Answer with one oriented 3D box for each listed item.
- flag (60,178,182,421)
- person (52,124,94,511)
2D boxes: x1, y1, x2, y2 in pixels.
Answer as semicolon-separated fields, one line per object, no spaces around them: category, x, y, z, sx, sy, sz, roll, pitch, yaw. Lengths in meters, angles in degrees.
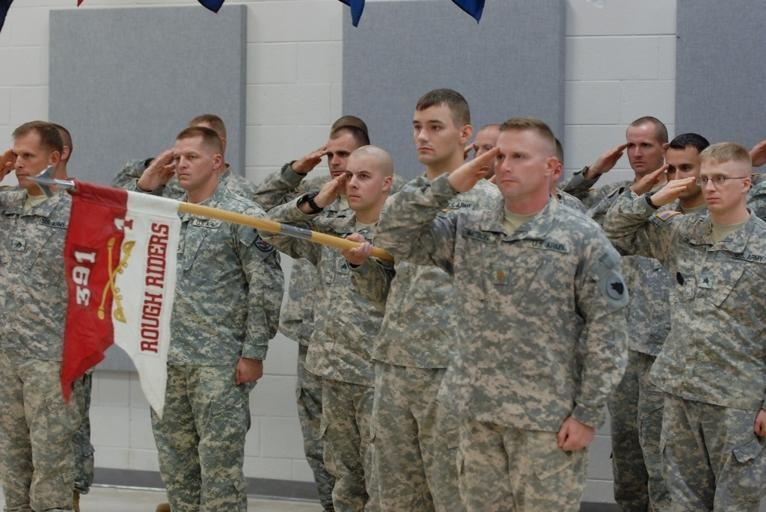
flag;-1.539;0.251;8.266;0.633;1.279;0.488;4;-5;-13
person;-2.017;0.453;9.670;0.383;2.397;0.115;-1;3;-42
